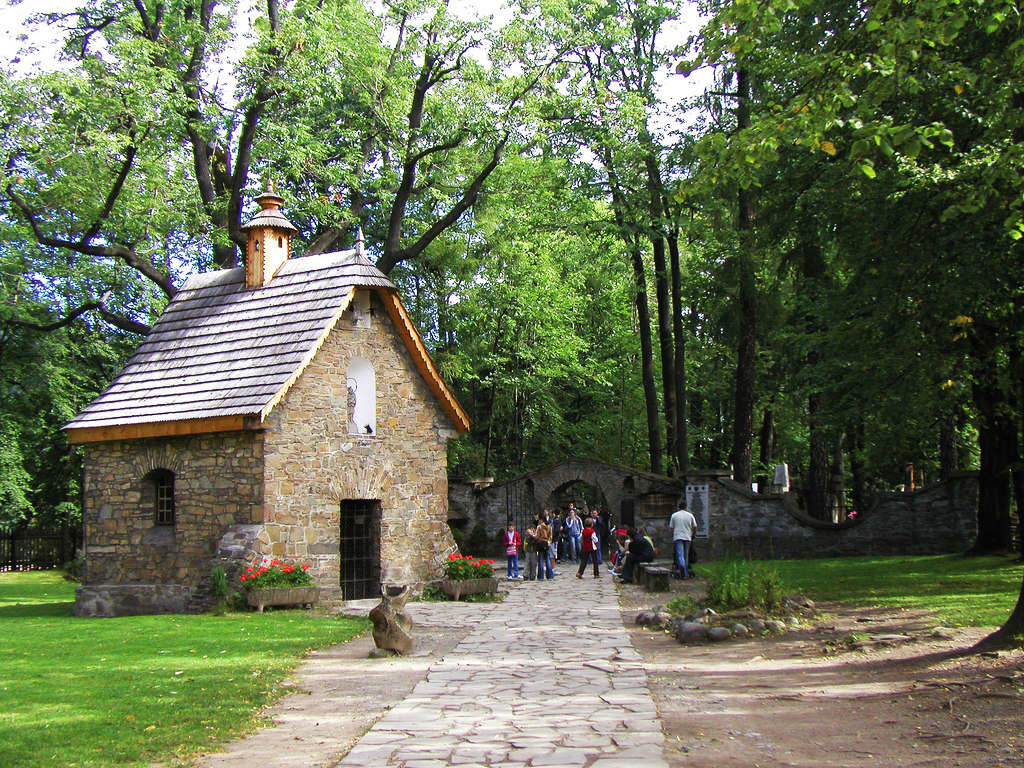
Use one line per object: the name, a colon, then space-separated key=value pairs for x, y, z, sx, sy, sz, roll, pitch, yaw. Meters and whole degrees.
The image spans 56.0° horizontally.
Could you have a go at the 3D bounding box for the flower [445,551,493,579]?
flower: x=-1.270 y=4.758 z=24.921 sx=0.729 sy=0.408 sz=0.770 roll=-1 pitch=-2 yaw=42

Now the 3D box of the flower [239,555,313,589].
flower: x=-5.442 y=4.338 z=22.215 sx=0.973 sy=0.488 sz=0.700 roll=7 pitch=-9 yaw=-41

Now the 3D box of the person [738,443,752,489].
person: x=8.552 y=2.980 z=36.026 sx=0.573 sy=1.599 sz=0.445 roll=-2 pitch=-10 yaw=5

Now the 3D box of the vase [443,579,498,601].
vase: x=-1.097 y=5.197 z=24.567 sx=0.947 sy=0.343 sz=0.607 roll=2 pitch=-3 yaw=-35
